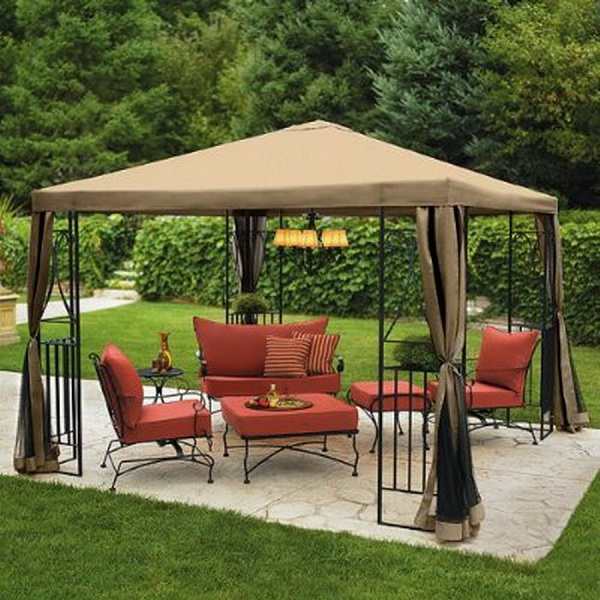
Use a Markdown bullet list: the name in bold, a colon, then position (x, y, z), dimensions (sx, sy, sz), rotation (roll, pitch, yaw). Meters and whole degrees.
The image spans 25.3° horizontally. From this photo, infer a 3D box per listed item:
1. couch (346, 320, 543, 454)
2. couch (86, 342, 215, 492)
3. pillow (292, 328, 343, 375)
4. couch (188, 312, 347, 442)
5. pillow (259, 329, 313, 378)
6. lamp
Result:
- **couch**: position (1.867, 1.070, 17.384), dimensions (2.192, 1.898, 1.541), rotation (-1, 3, -12)
- **couch**: position (-1.766, 1.341, 16.059), dimensions (1.354, 1.665, 1.197), rotation (-1, 2, -11)
- **pillow**: position (0.186, 0.681, 17.651), dimensions (0.486, 0.689, 0.243), rotation (2, -17, 10)
- **couch**: position (-0.492, 1.052, 17.654), dimensions (1.555, 1.444, 1.485), rotation (0, 0, -12)
- **pillow**: position (-0.198, 0.725, 17.481), dimensions (0.450, 0.543, 0.194), rotation (1, -27, 3)
- **lamp**: position (0.074, -0.897, 19.989), dimensions (1.072, 1.094, 1.135), rotation (1, -2, -29)
